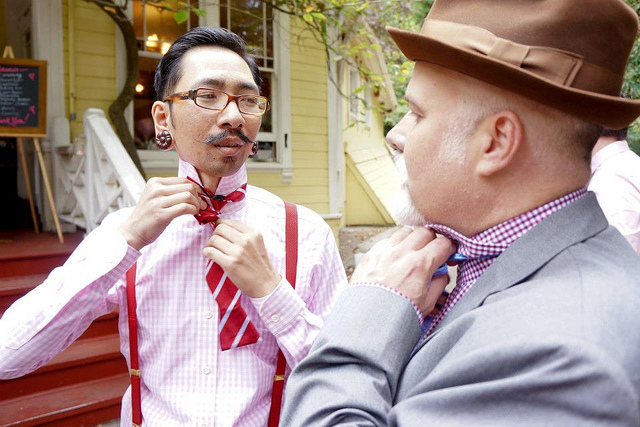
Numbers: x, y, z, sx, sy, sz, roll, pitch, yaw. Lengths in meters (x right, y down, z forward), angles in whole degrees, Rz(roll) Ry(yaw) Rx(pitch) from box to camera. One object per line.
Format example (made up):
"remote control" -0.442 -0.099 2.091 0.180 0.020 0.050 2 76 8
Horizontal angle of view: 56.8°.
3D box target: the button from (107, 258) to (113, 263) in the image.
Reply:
"button" -1.021 0.227 2.870 0.020 0.019 0.005 1 -8 -5

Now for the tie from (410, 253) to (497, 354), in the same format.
"tie" 0.559 0.377 2.576 0.131 0.331 0.242 49 -17 -17

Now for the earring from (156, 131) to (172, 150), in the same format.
"earring" -0.842 -0.371 3.139 0.103 0.097 0.053 18 18 28
